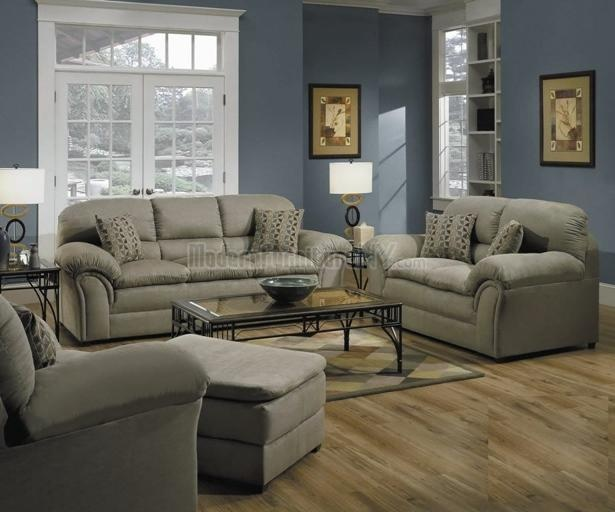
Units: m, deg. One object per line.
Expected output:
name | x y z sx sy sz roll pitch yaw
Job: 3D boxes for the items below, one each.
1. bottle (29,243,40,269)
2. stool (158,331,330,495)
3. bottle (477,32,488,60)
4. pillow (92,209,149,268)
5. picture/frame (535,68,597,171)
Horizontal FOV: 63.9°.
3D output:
bottle | -2.222 0.007 3.993 0.075 0.190 0.187 -3 7 -30
stool | -0.294 0.648 2.253 0.753 0.518 0.590 2 2 30
bottle | 2.612 -3.136 7.336 0.146 0.413 0.107 1 6 12
pillow | -1.688 -0.173 4.395 0.140 0.440 0.450 -22 -5 23
picture/frame | 2.918 -1.529 5.551 0.079 1.089 0.709 -3 7 -24
